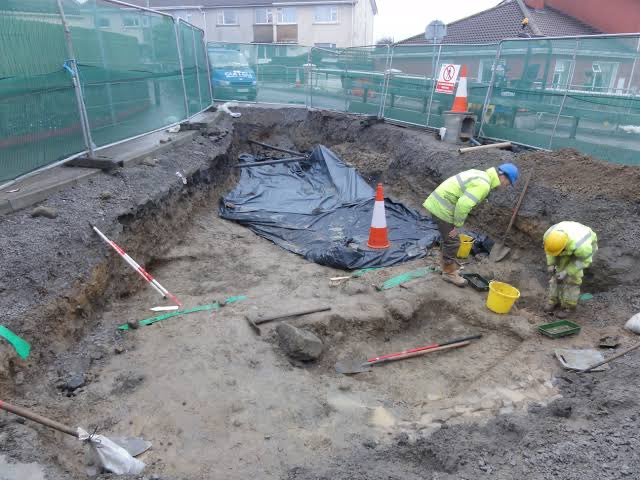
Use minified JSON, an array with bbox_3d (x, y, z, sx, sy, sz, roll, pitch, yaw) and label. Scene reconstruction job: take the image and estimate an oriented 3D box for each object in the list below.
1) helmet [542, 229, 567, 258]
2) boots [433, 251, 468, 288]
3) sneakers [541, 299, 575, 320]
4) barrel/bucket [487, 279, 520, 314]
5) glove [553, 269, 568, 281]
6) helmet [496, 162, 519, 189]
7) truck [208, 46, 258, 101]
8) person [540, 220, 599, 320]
[{"bbox_3d":[2.991,0.037,5.898,0.294,0.281,0.182,15,2,25],"label":"helmet"},{"bbox_3d":[1.942,0.418,6.862,0.652,0.503,0.262,15,45,33],"label":"boots"},{"bbox_3d":[3.191,0.939,6.208,0.389,0.135,0.188,5,43,5],"label":"sneakers"},{"bbox_3d":[2.472,0.785,6.313,0.362,0.346,0.373,2,26,-1],"label":"barrel/bucket"},{"bbox_3d":[3.110,0.457,5.993,0.130,0.135,0.042,1,51,-14],"label":"glove"},{"bbox_3d":[2.669,-0.906,6.533,0.275,0.330,0.256,-11,30,-22],"label":"helmet"},{"bbox_3d":[-2.637,-4.829,13.523,1.330,1.515,0.686,-13,33,-26],"label":"truck"},{"bbox_3d":[3.179,0.398,6.083,0.651,1.280,0.481,16,33,22],"label":"person"}]
